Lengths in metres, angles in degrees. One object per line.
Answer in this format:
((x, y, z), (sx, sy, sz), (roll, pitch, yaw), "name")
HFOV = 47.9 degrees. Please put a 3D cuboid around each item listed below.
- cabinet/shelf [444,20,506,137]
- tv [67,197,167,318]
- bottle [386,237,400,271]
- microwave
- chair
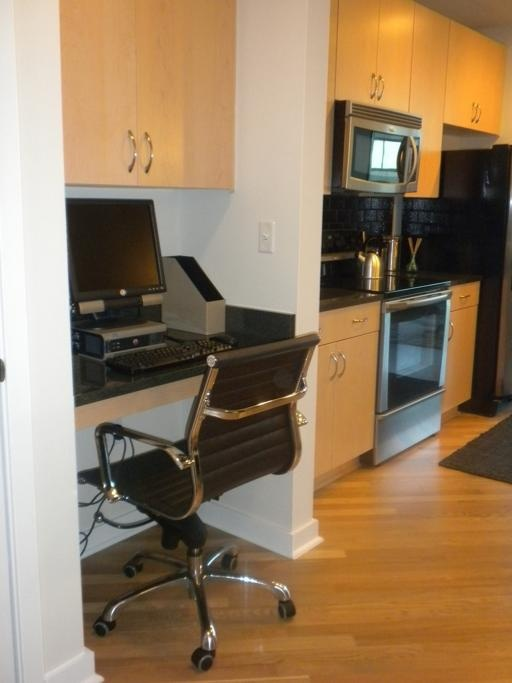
((1.379, -1.681, 3.629), (0.243, 0.568, 0.647), (13, 22, 37), "cabinet/shelf")
((-0.441, -0.263, 1.790), (0.029, 0.310, 0.389), (-5, 8, 27), "tv")
((0.860, -0.537, 3.573), (0.062, 0.217, 0.244), (4, 9, 22), "bottle")
((0.616, -0.957, 2.896), (0.134, 0.432, 0.793), (7, 10, 38), "microwave")
((-0.092, 0.294, 1.989), (0.771, 1.174, 0.829), (15, 17, 34), "chair")
